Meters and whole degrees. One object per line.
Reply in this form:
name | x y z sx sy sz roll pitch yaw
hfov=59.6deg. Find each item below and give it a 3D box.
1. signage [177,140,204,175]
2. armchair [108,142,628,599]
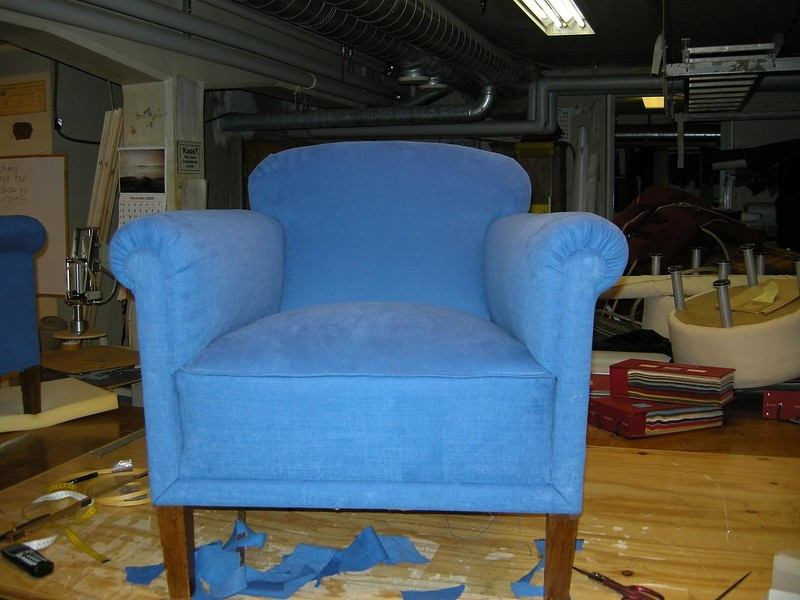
signage | -1.645 -1.109 5.440 0.050 0.256 0.336 1 6 25
armchair | -0.107 0.167 2.425 1.744 1.317 1.303 1 2 2
